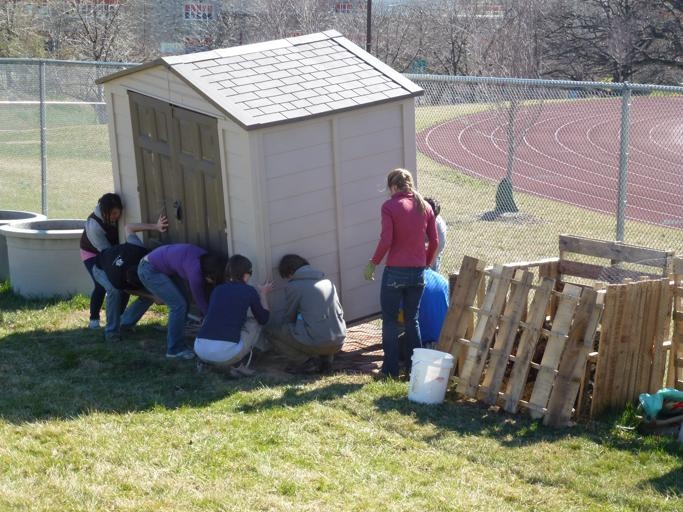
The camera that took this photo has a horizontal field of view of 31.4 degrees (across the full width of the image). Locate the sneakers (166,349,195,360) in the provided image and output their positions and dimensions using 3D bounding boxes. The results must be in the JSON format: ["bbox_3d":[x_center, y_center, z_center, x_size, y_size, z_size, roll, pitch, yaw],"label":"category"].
[{"bbox_3d":[-2.222,1.358,16.716,0.389,0.190,0.151,3,-2,2],"label":"sneakers"}]

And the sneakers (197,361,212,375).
[{"bbox_3d":[-1.880,1.491,16.426,0.131,0.098,0.187,2,19,-21],"label":"sneakers"}]

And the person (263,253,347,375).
[{"bbox_3d":[-0.463,0.735,16.609,0.953,1.659,1.007,-5,5,23],"label":"person"}]

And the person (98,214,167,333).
[{"bbox_3d":[-2.945,0.379,17.422,1.069,1.712,0.846,11,20,-5],"label":"person"}]

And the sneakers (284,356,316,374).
[{"bbox_3d":[-0.541,1.497,16.480,0.288,0.091,0.241,1,8,26],"label":"sneakers"}]

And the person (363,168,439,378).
[{"bbox_3d":[0.753,0.232,16.163,0.722,2.724,0.354,2,7,3],"label":"person"}]

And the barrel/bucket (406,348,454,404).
[{"bbox_3d":[1.184,1.508,15.838,0.587,0.690,0.623,7,4,0],"label":"barrel/bucket"}]

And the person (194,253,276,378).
[{"bbox_3d":[-1.419,0.906,16.495,0.789,1.787,1.246,7,13,25],"label":"person"}]
